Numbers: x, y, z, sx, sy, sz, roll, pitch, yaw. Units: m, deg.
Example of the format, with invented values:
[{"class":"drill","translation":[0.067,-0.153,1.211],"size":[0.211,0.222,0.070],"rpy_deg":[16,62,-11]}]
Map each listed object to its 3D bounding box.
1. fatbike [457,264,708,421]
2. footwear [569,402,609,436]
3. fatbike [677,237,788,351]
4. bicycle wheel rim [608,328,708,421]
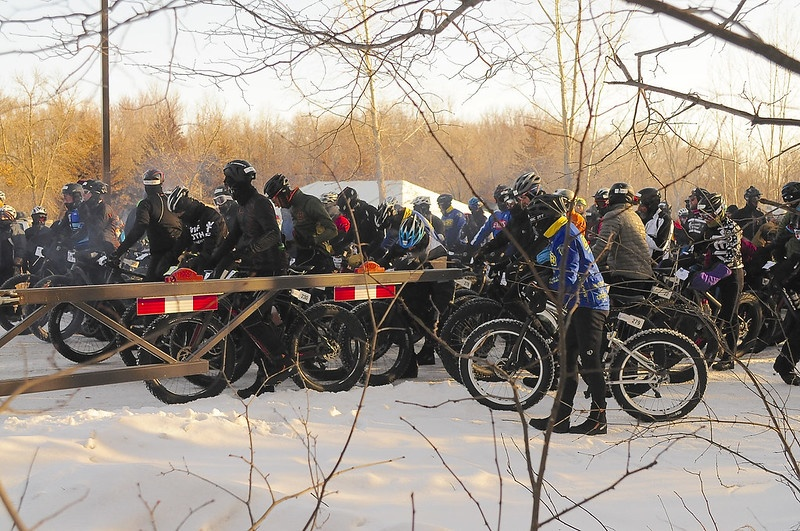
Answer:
[{"class":"fatbike","translation":[2.216,0.961,9.729],"size":[3.269,1.966,1.571],"rpy_deg":[4,-15,2]},{"class":"footwear","translation":[2.076,1.771,9.352],"size":[0.555,0.415,0.227],"rpy_deg":[1,-3,4]},{"class":"fatbike","translation":[4.670,0.427,11.467],"size":[2.174,1.683,0.830],"rpy_deg":[2,-1,-8]},{"class":"bicycle wheel rim","translation":[3.071,1.319,9.665],"size":[1.118,1.100,0.204],"rpy_deg":[-1,4,11]}]
